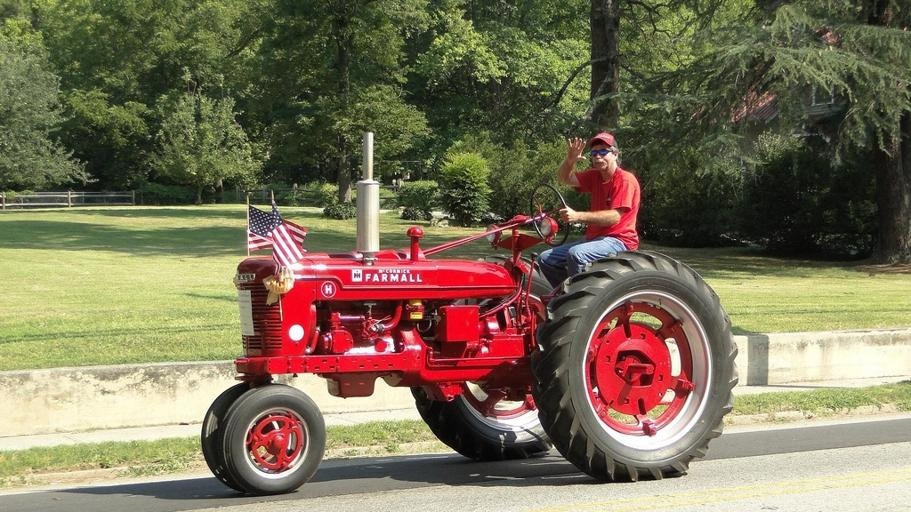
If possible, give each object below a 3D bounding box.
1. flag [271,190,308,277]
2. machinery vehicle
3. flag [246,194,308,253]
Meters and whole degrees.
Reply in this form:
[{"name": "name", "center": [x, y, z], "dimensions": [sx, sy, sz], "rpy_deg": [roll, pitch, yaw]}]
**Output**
[{"name": "flag", "center": [-3.660, -0.419, 22.747], "dimensions": [0.732, 1.538, 0.794], "rpy_deg": [-1, 1, -10]}, {"name": "machinery vehicle", "center": [0.113, 1.884, 25.881], "dimensions": [12.144, 7.024, 7.615], "rpy_deg": [2, -3, -14]}, {"name": "flag", "center": [-3.886, -0.583, 22.541], "dimensions": [1.638, 1.397, 0.131], "rpy_deg": [-2, -6, 28]}]
